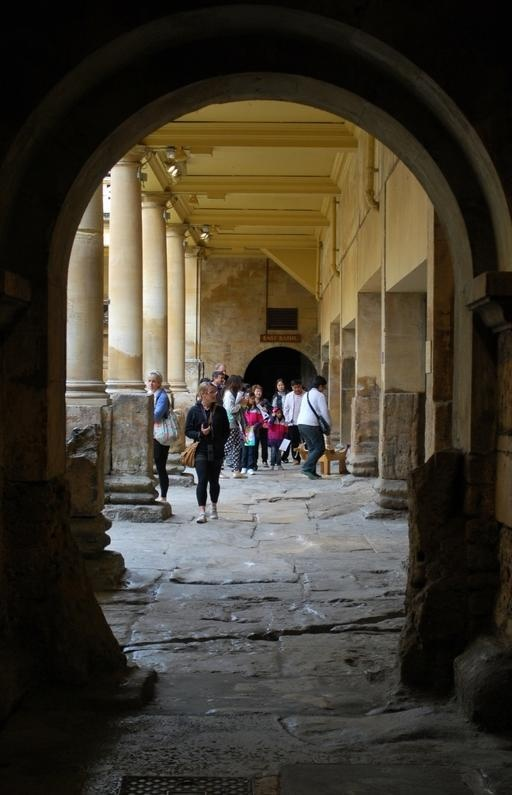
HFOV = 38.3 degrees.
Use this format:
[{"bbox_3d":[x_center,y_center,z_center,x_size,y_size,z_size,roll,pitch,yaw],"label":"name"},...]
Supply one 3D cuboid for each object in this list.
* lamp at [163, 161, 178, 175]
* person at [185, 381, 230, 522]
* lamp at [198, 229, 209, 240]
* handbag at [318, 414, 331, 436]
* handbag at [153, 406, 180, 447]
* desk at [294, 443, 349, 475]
[{"bbox_3d":[-1.091,-2.992,9.614,0.144,0.175,0.197,5,-2,16],"label":"lamp"},{"bbox_3d":[-0.444,0.503,6.798,0.383,1.276,0.629,0,-2,-2],"label":"person"},{"bbox_3d":[-1.073,-3.416,15.260,0.220,0.225,0.168,-4,12,8],"label":"lamp"},{"bbox_3d":[0.965,0.382,10.247,0.081,0.230,0.171,-10,8,-15],"label":"handbag"},{"bbox_3d":[-0.848,0.277,7.198,0.240,0.473,0.337,-1,-1,5],"label":"handbag"},{"bbox_3d":[1.106,0.945,11.049,0.450,0.421,0.565,-1,0,31],"label":"desk"}]
